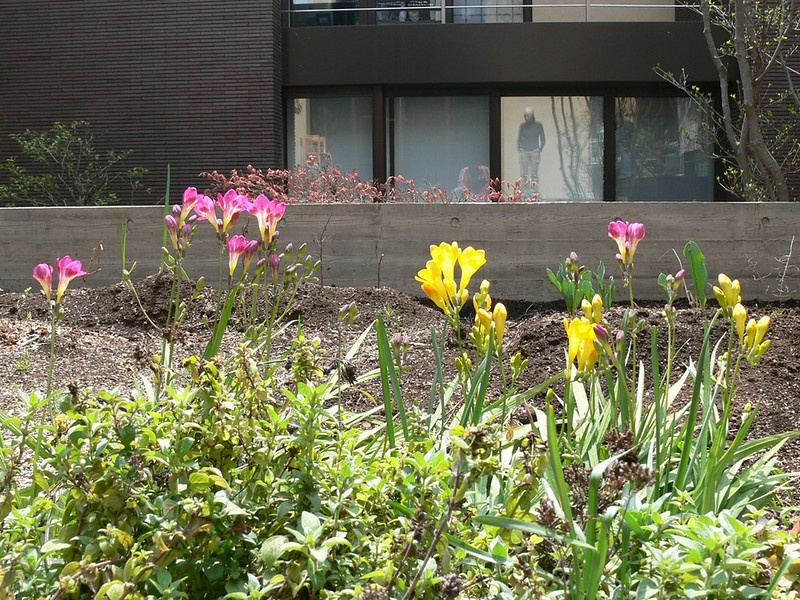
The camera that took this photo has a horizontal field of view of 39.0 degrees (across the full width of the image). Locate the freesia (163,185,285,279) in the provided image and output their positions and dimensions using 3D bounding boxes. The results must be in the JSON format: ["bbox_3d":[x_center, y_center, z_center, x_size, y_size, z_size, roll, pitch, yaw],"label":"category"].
[{"bbox_3d":[-1.099,-0.455,6.760,0.728,0.465,0.689,3,7,27],"label":"freesia"}]

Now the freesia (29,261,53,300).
[{"bbox_3d":[-2.066,-0.101,6.505,0.093,0.189,0.517,-3,2,-18],"label":"freesia"}]

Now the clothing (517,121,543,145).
[{"bbox_3d":[1.633,-1.980,13.889,0.336,0.434,0.248,2,4,13],"label":"clothing"}]

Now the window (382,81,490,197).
[{"bbox_3d":[0.471,-1.990,13.776,1.468,1.725,0.076,1,1,5],"label":"window"}]

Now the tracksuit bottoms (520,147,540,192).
[{"bbox_3d":[1.591,-1.565,13.677,0.260,0.516,0.229,-2,1,6],"label":"tracksuit bottoms"}]

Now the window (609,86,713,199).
[{"bbox_3d":[3.246,-1.836,13.908,1.256,1.638,0.057,5,41,19],"label":"window"}]

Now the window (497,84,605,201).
[{"bbox_3d":[1.851,-1.793,13.902,1.413,1.615,0.049,5,41,12],"label":"window"}]

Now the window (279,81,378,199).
[{"bbox_3d":[-0.872,-2.085,14.195,0.951,1.202,0.256,0,3,15],"label":"window"}]
